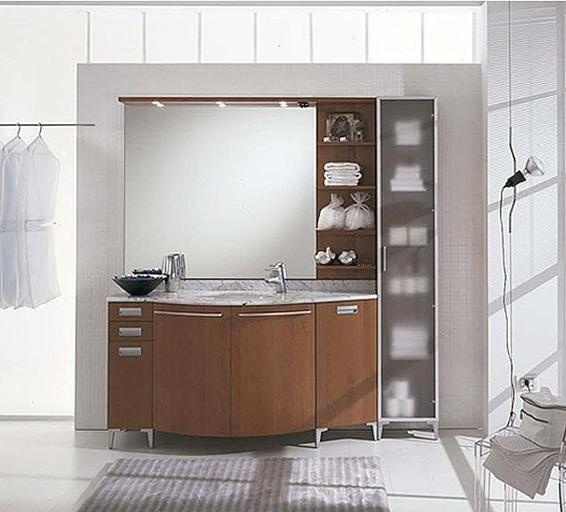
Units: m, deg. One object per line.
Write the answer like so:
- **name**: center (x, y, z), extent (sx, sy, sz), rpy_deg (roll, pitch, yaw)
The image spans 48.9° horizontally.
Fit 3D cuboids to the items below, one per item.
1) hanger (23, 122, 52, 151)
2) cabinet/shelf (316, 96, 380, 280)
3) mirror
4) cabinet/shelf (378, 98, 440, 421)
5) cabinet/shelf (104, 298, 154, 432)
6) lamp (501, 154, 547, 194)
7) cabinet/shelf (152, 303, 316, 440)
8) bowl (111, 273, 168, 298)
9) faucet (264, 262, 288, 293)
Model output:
- **hanger**: center (-1.767, -0.865, 4.469), extent (0.251, 0.314, 0.027), rpy_deg (2, 4, 1)
- **cabinet/shelf**: center (0.446, -0.561, 4.366), extent (0.394, 1.228, 0.131), rpy_deg (6, -30, -2)
- **mirror**: center (-0.457, -0.531, 4.473), extent (1.289, 1.169, 0.043), rpy_deg (0, 2, 2)
- **cabinet/shelf**: center (0.878, 0.008, 4.455), extent (0.429, 2.314, 0.325), rpy_deg (0, 4, 8)
- **cabinet/shelf**: center (-0.988, 0.713, 4.057), extent (0.295, 0.807, 0.151), rpy_deg (0, 9, 0)
- **lamp**: center (1.596, -0.546, 4.138), extent (0.260, 0.231, 0.327), rpy_deg (3, 9, 21)
- **cabinet/shelf**: center (-0.308, 0.736, 4.249), extent (1.117, 0.829, 0.631), rpy_deg (0, -2, 1)
- **bowl**: center (-0.959, 0.189, 4.274), extent (0.292, 0.129, 0.357), rpy_deg (1, 9, 10)
- **faucet**: center (-0.047, 0.151, 4.414), extent (0.151, 0.205, 0.181), rpy_deg (0, 9, 0)
